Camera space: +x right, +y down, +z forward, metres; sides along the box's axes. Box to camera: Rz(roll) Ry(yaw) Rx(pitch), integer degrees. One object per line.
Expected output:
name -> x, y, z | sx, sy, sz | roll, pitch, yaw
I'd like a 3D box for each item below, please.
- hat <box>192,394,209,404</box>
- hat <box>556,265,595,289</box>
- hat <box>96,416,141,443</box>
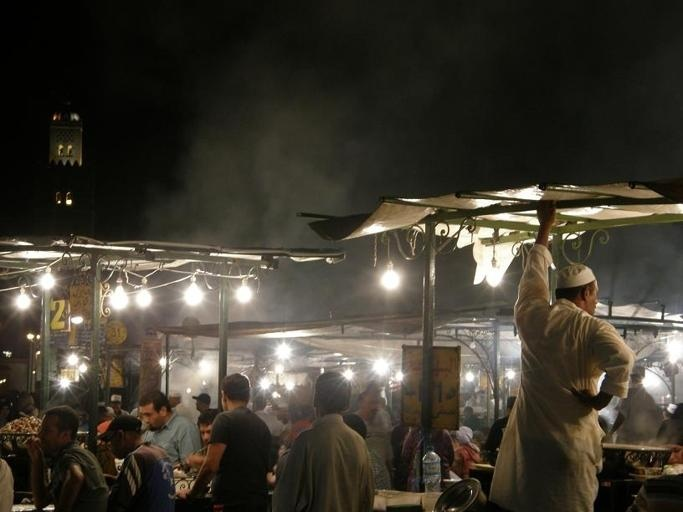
hat -> -2.535, 2.541, 14.534 | 0.271, 0.148, 0.202 | 6, -9, 20
hat -> 2.202, 0.195, 7.652 | 0.248, 0.128, 0.256 | -10, 2, 9
hat -> -2.466, 1.938, 9.034 | 0.399, 0.214, 0.278 | 2, -17, -2
